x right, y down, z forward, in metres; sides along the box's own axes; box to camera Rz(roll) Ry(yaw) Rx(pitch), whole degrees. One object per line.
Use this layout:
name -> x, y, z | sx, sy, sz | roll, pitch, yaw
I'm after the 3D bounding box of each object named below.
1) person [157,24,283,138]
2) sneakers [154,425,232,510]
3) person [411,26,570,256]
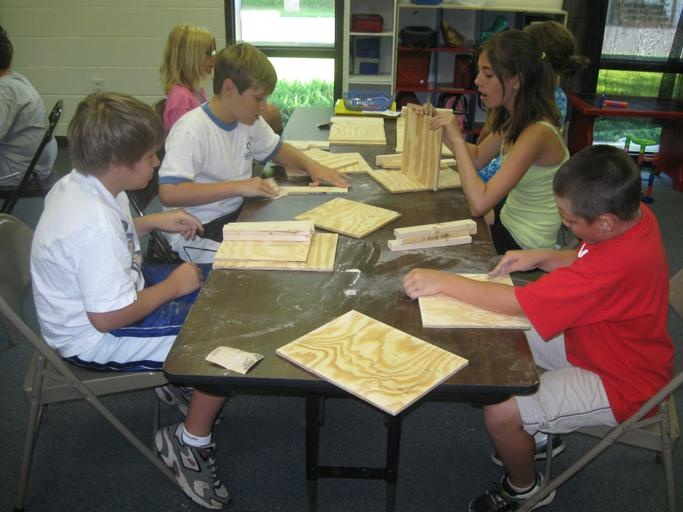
person -> -0.878, -1.152, 3.768 | 0.702, 0.792, 0.544 | 1, 25, -15
sneakers -> -0.582, 0.825, 2.083 | 0.344, 0.169, 0.130 | 49, 16, 6
person -> 0.702, -0.349, 2.626 | 0.696, 1.342, 0.540 | 3, 21, 4
